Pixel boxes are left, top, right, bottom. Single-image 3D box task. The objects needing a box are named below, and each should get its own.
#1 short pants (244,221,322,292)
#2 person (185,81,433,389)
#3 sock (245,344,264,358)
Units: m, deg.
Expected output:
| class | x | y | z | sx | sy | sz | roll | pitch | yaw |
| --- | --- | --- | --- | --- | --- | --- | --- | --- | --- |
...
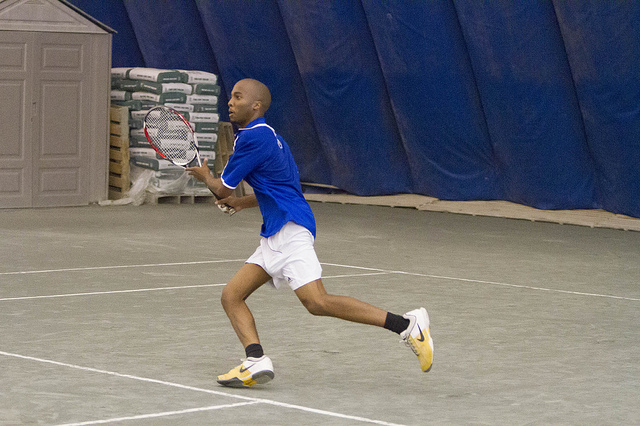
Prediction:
| class | x | y | z | sx | sy | sz | roll | pitch | yaw |
| --- | --- | --- | --- | --- | --- | --- | --- | --- | --- |
| short pants | -0.255 | 0.312 | 5.237 | 0.513 | 0.497 | 0.250 | -3 | 2 | -1 |
| person | -0.189 | 0.132 | 5.280 | 1.481 | 2.279 | 0.539 | -3 | 2 | -2 |
| sock | -0.450 | 0.992 | 5.098 | 0.100 | 0.086 | 0.102 | -5 | -5 | 43 |
